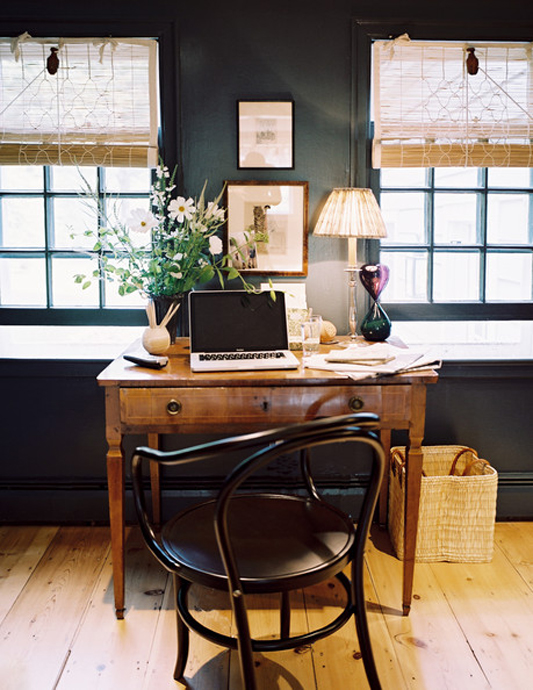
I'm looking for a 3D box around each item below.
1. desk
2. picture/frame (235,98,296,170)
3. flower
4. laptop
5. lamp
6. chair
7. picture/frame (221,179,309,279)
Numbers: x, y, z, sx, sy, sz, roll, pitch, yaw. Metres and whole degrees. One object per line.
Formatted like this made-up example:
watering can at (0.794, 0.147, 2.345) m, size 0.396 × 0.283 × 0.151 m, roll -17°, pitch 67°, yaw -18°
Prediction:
desk at (-0.002, 0.414, 2.131) m, size 0.995 × 0.794 × 0.639 m, roll 0°, pitch 11°, yaw -1°
picture/frame at (-0.008, -0.842, 2.377) m, size 0.240 × 0.281 × 0.019 m, roll 3°, pitch 16°, yaw -5°
flower at (-0.338, -0.380, 2.165) m, size 0.406 × 0.483 × 0.441 m, roll -17°, pitch 2°, yaw -12°
laptop at (-0.073, -0.068, 1.979) m, size 0.311 × 0.207 × 0.278 m, roll -2°, pitch 13°, yaw -10°
lamp at (0.316, -0.311, 2.344) m, size 0.263 × 0.578 × 0.321 m, roll -1°, pitch 12°, yaw 5°
chair at (-0.032, 0.571, 1.635) m, size 0.529 × 0.798 × 0.534 m, roll -7°, pitch 15°, yaw -31°
picture/frame at (-0.013, -0.482, 2.415) m, size 0.401 × 0.493 × 0.025 m, roll -1°, pitch 5°, yaw -4°
